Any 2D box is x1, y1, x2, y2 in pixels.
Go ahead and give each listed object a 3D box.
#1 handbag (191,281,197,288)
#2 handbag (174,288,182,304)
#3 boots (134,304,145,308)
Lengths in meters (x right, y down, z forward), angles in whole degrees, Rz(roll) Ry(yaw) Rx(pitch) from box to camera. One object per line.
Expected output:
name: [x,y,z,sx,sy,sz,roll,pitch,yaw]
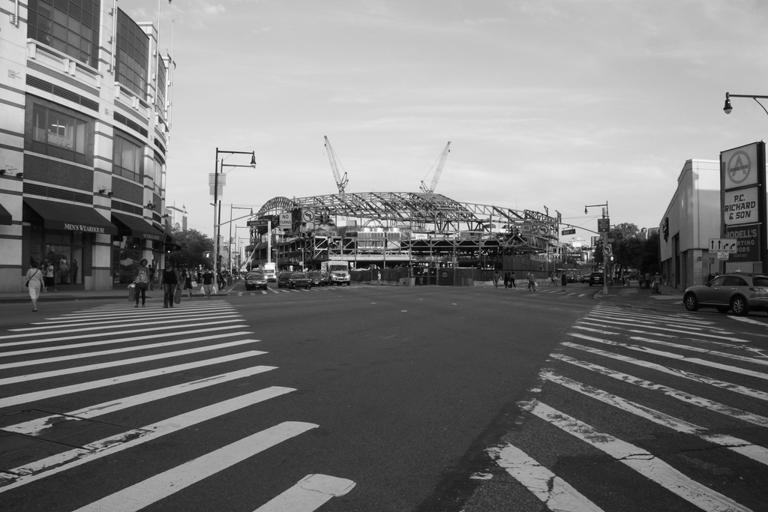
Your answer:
handbag: [-18.860,2.847,67.724,0.689,0.760,1.005,1,-5,-29]
handbag: [-10.452,2.030,34.459,0.342,1.064,0.814,-2,1,-13]
boots: [-10.901,2.226,30.379,0.491,0.231,0.160,-4,-1,3]
